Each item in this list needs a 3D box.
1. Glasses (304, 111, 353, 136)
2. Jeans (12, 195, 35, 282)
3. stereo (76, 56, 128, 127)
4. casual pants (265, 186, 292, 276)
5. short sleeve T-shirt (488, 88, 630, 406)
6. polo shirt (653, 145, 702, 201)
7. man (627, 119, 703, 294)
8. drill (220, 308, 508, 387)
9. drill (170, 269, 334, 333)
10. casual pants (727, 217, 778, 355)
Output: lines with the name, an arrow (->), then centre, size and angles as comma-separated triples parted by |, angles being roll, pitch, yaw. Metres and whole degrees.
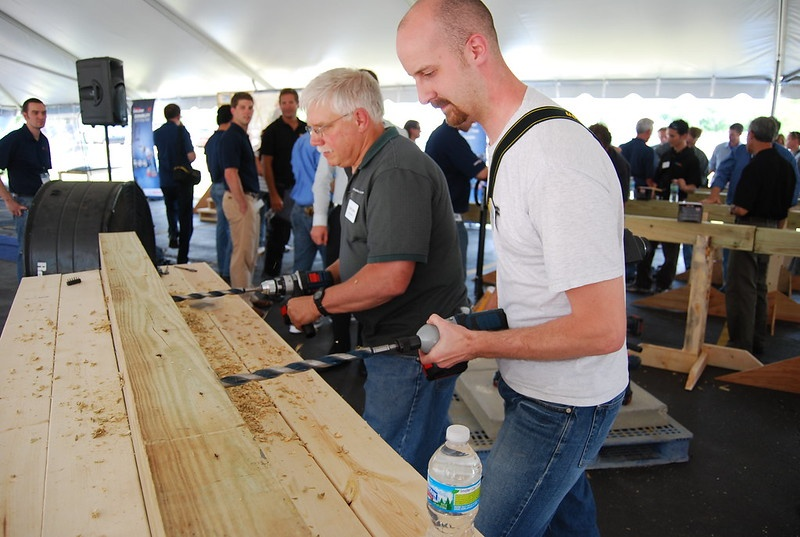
Glasses -> -0.349, -0.713, 2.652 | 0.129, 0.039, 0.121 | -21, 6, -33
Jeans -> -4.312, -0.285, 6.356 | 0.215, 1.201, 0.227 | 10, 39, -22
stereo -> -3.263, -1.927, 5.988 | 0.474, 0.748, 0.349 | 5, 11, 23
casual pants -> -1.432, -0.539, 6.542 | 0.279, 1.119, 0.300 | -17, 58, -22
short sleeve T-shirt -> 0.594, -0.076, 2.105 | 0.584, 1.233, 0.341 | 5, 11, 22
polo shirt -> 3.819, -1.255, 7.484 | 0.502, 0.913, 0.679 | -10, 13, -35
man -> 3.654, -0.748, 7.582 | 0.824, 2.605, 0.808 | 15, 23, 34
drill -> -0.188, 0.413, 2.805 | 1.569, 0.270, 0.458 | -9, 8, 6
drill -> -0.980, 0.218, 3.529 | 1.306, 0.227, 0.525 | -3, 13, 18
casual pants -> 3.338, 0.304, 5.192 | 0.674, 0.992, 0.279 | -6, 12, -33
